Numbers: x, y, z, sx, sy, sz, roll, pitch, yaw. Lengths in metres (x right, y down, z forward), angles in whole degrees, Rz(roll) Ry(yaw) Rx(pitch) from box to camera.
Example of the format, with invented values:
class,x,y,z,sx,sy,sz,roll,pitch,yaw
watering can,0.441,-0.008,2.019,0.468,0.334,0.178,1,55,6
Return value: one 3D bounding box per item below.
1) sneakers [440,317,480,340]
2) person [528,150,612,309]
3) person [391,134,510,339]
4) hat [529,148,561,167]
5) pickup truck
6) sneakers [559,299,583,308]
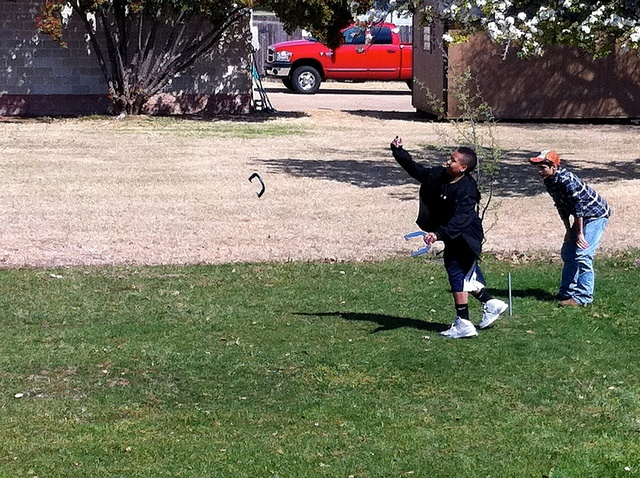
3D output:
class,x,y,z,sx,sy,sz,roll,pitch,yaw
sneakers,1.786,1.167,15.860,0.504,0.247,0.201,0,4,17
person,3.397,-0.128,16.660,0.962,2.119,0.509,0,8,6
person,1.658,0.005,15.706,1.392,2.596,1.024,-1,8,2
hat,2.990,-1.080,16.435,0.380,0.197,0.244,0,5,6
pickup truck,0.767,-5.529,37.790,5.173,1.851,2.193,-1,10,-9
sneakers,3.372,0.893,16.765,0.337,0.146,0.116,-7,2,11
